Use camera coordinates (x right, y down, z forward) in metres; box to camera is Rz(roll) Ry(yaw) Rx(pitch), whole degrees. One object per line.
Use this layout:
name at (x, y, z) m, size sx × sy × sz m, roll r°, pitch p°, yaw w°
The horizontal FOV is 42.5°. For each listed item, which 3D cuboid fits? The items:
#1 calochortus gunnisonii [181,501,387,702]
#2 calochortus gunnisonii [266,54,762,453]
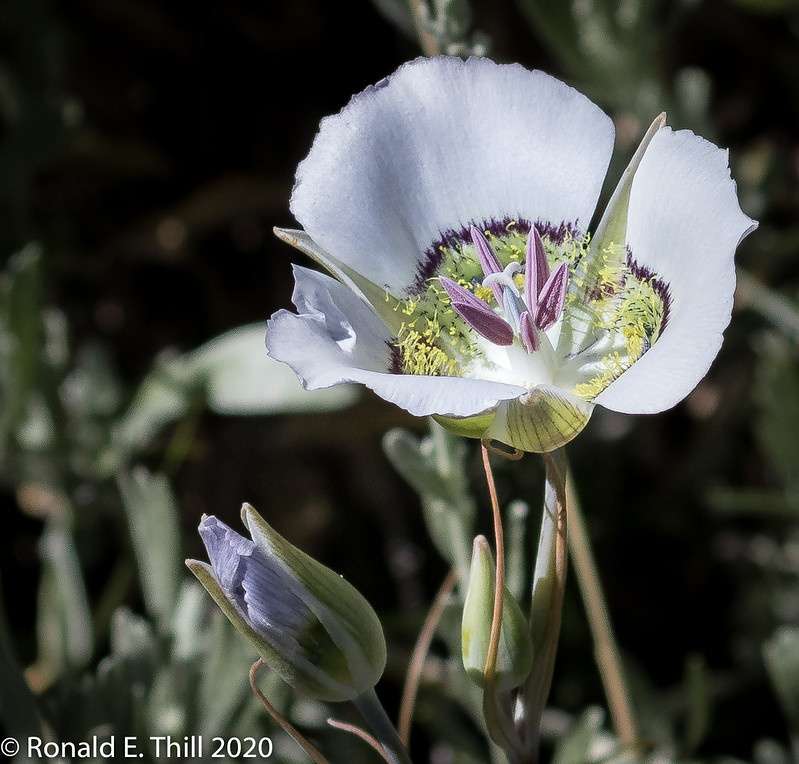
calochortus gunnisonii at (-0.161, 0.350, 1.530) m, size 0.342 × 0.138 × 0.193 m, roll 44°, pitch 45°, yaw -10°
calochortus gunnisonii at (0.136, -0.191, 1.534) m, size 0.646 × 0.400 × 0.639 m, roll 0°, pitch 63°, yaw -2°
